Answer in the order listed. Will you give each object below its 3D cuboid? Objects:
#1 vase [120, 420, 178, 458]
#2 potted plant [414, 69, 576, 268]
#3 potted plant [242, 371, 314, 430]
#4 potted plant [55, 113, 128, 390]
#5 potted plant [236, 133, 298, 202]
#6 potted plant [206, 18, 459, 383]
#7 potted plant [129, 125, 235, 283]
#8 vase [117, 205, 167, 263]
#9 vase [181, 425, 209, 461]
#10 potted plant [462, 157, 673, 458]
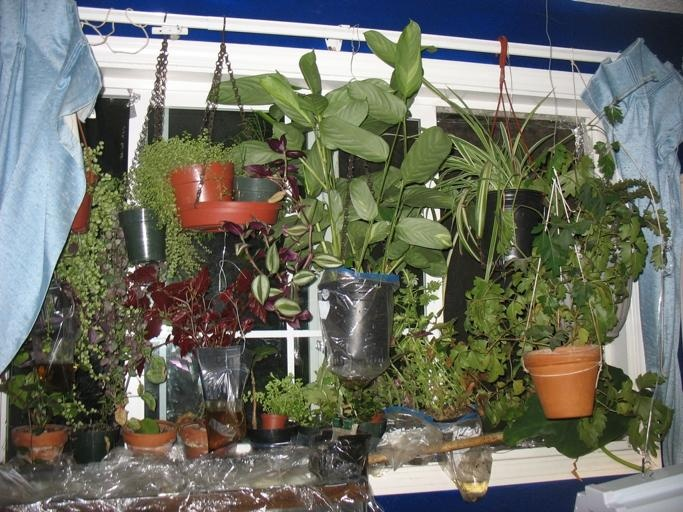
[{"bbox_3d":[-0.704,0.671,2.501,0.190,0.087,0.104,0,0,-19],"label":"vase"},{"bbox_3d":[0.712,-0.376,2.759,0.638,0.769,0.547,-6,-1,38],"label":"potted plant"},{"bbox_3d":[-0.247,0.552,2.670,0.257,0.167,0.256,0,0,-8],"label":"potted plant"},{"bbox_3d":[-0.932,0.029,2.563,0.265,0.714,0.139,0,0,-13],"label":"potted plant"},{"bbox_3d":[-0.264,-0.309,2.661,0.234,0.266,0.249,0,-10,5],"label":"potted plant"},{"bbox_3d":[0.058,-0.277,2.723,0.893,1.308,0.880,-10,19,-41],"label":"potted plant"},{"bbox_3d":[-0.550,-0.253,2.643,0.261,0.355,0.293,1,17,-3],"label":"potted plant"},{"bbox_3d":[-0.757,-0.074,2.619,0.171,0.199,0.187,-6,-4,-5],"label":"vase"},{"bbox_3d":[-0.540,0.695,2.522,0.102,0.094,0.109,-2,-14,3],"label":"vase"},{"bbox_3d":[0.775,0.141,2.633,0.657,0.985,0.612,-16,-28,30],"label":"potted plant"}]
